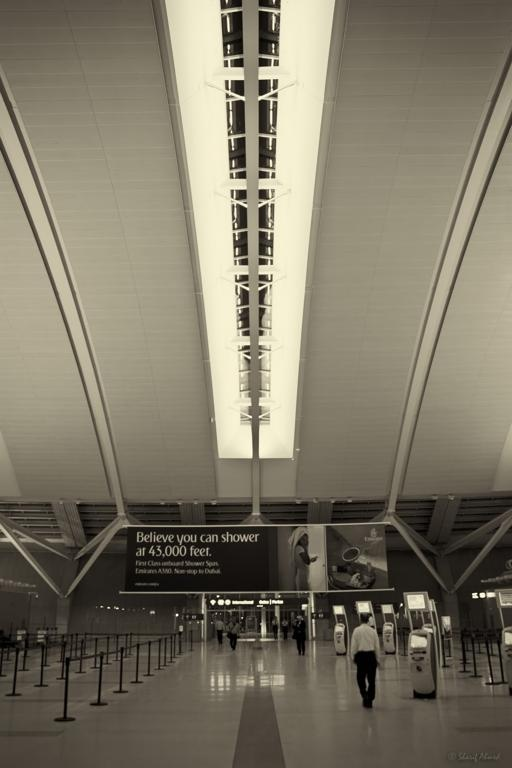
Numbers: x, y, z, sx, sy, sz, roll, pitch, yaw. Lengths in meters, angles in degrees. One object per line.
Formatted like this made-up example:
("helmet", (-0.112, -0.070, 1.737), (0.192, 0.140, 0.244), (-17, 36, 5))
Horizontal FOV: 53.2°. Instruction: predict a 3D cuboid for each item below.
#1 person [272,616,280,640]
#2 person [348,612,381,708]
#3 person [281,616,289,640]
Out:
("person", (1.101, 14.453, 29.884), (0.413, 1.165, 0.235), (-12, -23, 25))
("person", (1.590, 4.015, 7.428), (0.375, 1.158, 1.772), (-5, -23, 10))
("person", (1.674, 14.407, 29.740), (0.394, 1.123, 0.297), (0, -21, -5))
